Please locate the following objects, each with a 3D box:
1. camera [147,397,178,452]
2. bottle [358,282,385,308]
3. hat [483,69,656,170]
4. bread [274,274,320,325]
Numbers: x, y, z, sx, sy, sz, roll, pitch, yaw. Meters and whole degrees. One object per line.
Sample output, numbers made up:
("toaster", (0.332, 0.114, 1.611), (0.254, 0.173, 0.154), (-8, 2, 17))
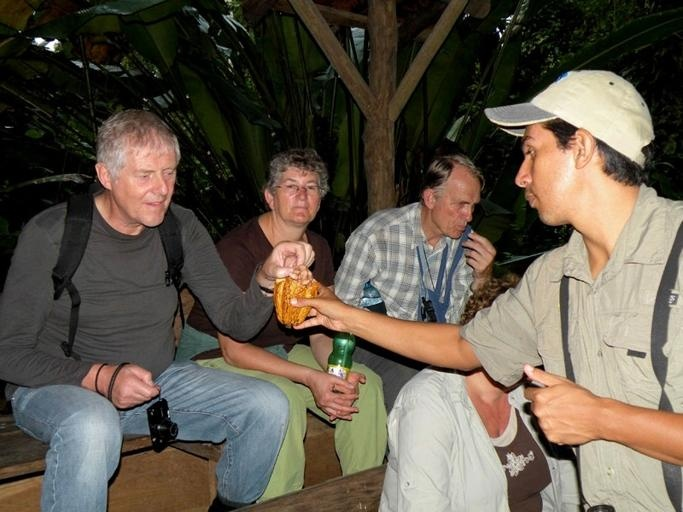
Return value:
("camera", (-1.169, 1.107, 3.225), (0.151, 0.278, 0.153), (-3, 5, 18))
("bottle", (0.283, 0.370, 4.691), (0.182, 0.177, 0.103), (-19, -11, -18))
("hat", (1.106, -0.701, 2.375), (0.717, 0.382, 0.485), (26, 12, 14))
("bread", (-0.326, 0.311, 3.199), (0.262, 0.314, 0.280), (13, 2, 43))
